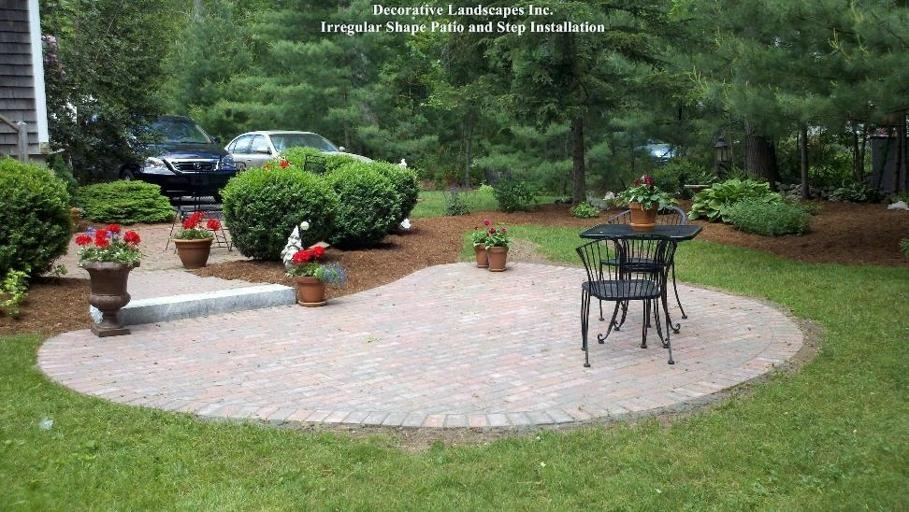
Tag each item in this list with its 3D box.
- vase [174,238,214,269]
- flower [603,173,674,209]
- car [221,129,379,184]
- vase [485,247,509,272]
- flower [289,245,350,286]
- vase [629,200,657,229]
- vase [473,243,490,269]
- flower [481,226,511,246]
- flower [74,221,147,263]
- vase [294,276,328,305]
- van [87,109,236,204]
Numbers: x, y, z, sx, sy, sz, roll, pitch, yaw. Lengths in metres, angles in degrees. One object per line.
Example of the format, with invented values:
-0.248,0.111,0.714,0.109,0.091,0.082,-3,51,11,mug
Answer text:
-5.196,-0.059,15.326,0.662,0.449,0.647,-1,0,-6,vase
3.056,-1.035,12.437,0.660,0.532,0.815,-2,9,-8,flower
-5.344,-3.166,22.774,3.971,1.077,1.774,5,10,32,car
0.844,0.078,15.631,0.488,0.487,0.473,0,0,-3,vase
-2.447,0.174,13.391,0.791,0.691,0.846,-6,11,-34,flower
3.013,-0.658,12.336,0.439,0.363,0.431,1,0,2,vase
0.558,0.025,15.799,0.480,0.493,0.440,-1,2,1,vase
0.882,-0.361,15.711,0.515,0.336,0.512,2,1,15,flower
-5.651,-0.143,12.450,1.141,0.765,1.059,-1,-6,24,flower
-2.472,0.621,13.242,0.508,0.417,0.497,0,1,-5,vase
-7.582,-2.699,20.956,5.110,2.007,2.401,3,3,44,van
